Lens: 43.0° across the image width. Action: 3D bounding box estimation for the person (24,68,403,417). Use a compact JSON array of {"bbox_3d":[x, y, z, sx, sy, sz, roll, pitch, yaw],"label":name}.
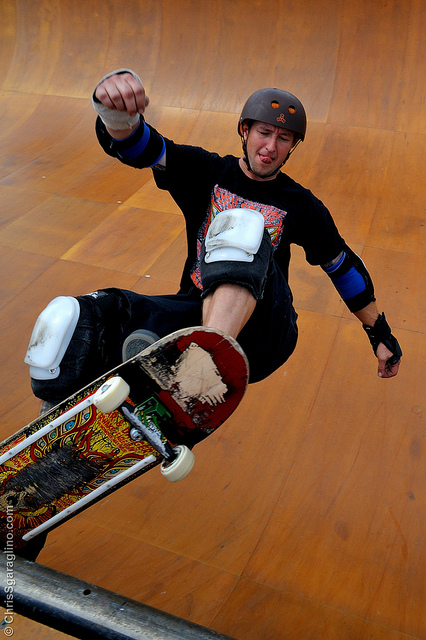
[{"bbox_3d":[0.037,-0.290,2.307,1.018,1.395,1.738,23,32,40],"label":"person"}]
